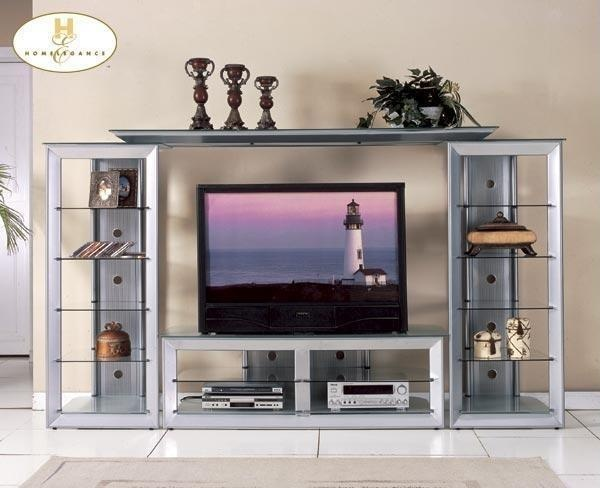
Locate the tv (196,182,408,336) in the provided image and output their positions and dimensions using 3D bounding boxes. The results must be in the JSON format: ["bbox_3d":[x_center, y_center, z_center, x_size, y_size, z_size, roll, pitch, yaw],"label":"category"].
[{"bbox_3d":[0.022,0.117,6.215,1.119,0.736,0.112,0,-3,0],"label":"tv"}]

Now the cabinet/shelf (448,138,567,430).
[{"bbox_3d":[1.422,0.266,6.389,0.834,1.911,0.620,-2,-1,10],"label":"cabinet/shelf"}]

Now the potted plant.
[{"bbox_3d":[0.752,-0.948,6.296,0.567,0.273,0.628,-2,7,-13],"label":"potted plant"}]

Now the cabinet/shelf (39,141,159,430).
[{"bbox_3d":[-1.359,0.279,6.418,0.782,1.908,0.657,-1,-1,-8],"label":"cabinet/shelf"}]
